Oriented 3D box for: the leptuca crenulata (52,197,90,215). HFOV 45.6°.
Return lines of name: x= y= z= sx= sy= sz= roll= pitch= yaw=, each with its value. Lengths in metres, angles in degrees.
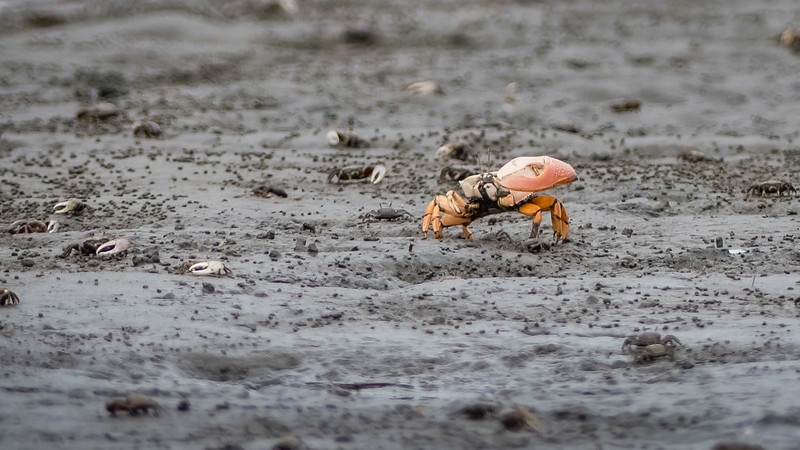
leptuca crenulata: x=-9.531 y=-0.493 z=27.512 sx=1.089 sy=0.298 sz=0.531 roll=-2 pitch=51 yaw=4
